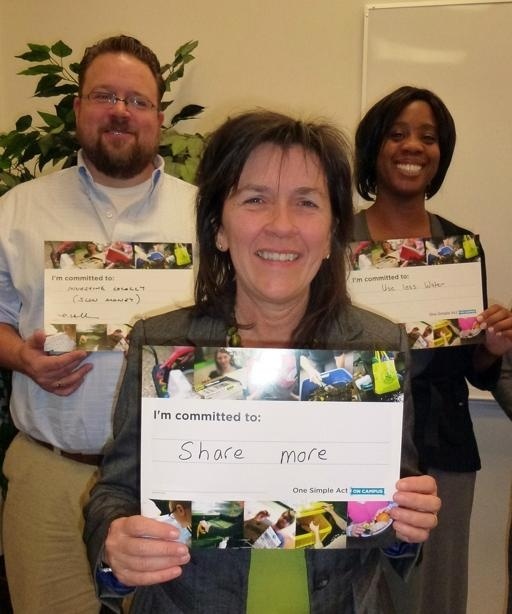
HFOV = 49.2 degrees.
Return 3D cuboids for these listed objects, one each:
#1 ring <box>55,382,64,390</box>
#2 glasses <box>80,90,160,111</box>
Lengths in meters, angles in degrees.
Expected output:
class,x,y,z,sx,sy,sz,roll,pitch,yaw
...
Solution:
class,x,y,z,sx,sy,sz,roll,pitch,yaw
ring,-0.524,0.215,1.504,0.013,0.024,0.021,-9,10,-43
glasses,-0.393,-0.603,1.632,0.259,0.042,0.058,4,20,-10
